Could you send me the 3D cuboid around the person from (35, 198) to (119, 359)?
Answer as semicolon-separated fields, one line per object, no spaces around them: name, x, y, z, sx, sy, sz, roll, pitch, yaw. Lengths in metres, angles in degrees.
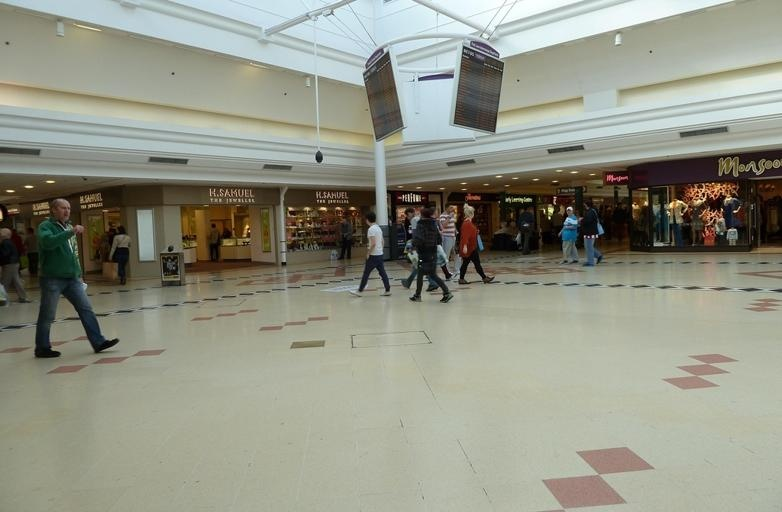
person;-4.137;0.256;6.264;0.861;1.959;0.899;-8;10;-35

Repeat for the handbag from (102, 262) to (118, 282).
handbag;-8.949;0.460;15.720;0.334;0.560;0.588;1;-3;-20

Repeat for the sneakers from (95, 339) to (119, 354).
sneakers;-3.652;1.130;6.388;0.129;0.133;0.345;-2;6;2

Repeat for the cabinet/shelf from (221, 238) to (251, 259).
cabinet/shelf;-6.645;-0.322;21.032;1.123;0.762;0.983;0;-3;-3

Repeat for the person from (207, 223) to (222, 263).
person;-7.521;-0.558;21.054;0.486;1.464;0.843;-6;9;-24

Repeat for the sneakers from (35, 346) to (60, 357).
sneakers;-4.337;1.177;6.230;0.240;0.097;0.130;0;0;-7

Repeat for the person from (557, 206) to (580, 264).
person;5.224;-0.645;14.477;0.479;1.650;1.276;0;8;19

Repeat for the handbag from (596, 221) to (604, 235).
handbag;5.643;-0.767;13.401;0.101;0.326;0.538;1;9;28

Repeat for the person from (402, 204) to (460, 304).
person;0.651;-0.035;8.721;0.722;1.671;0.908;-2;8;2
